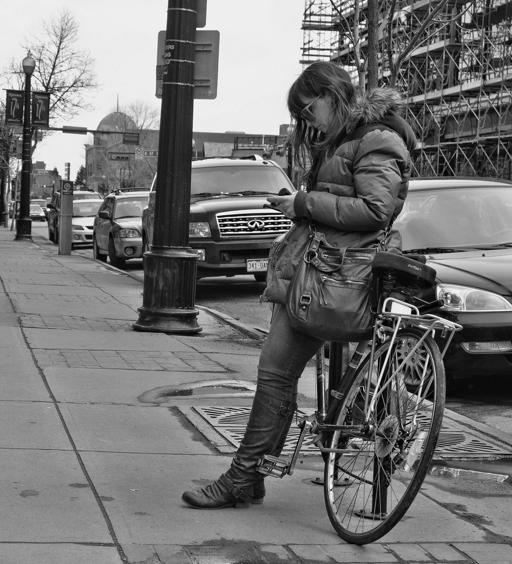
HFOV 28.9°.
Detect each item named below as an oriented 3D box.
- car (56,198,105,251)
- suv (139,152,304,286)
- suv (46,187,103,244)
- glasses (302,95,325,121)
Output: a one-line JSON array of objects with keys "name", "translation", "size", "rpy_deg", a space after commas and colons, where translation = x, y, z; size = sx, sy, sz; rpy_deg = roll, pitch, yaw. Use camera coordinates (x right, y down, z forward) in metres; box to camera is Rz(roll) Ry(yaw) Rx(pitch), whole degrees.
[{"name": "car", "translation": [-4.932, -1.628, 28.006], "size": [1.057, 0.841, 2.311], "rpy_deg": [-1, 0, -21]}, {"name": "suv", "translation": [-0.364, -0.891, 13.797], "size": [1.368, 1.160, 2.438], "rpy_deg": [-1, 1, -14]}, {"name": "suv", "translation": [-5.230, -1.767, 29.042], "size": [1.595, 1.232, 3.150], "rpy_deg": [-1, 2, -20]}, {"name": "glasses", "translation": [0.205, -0.647, 3.718], "size": [0.035, 0.092, 0.066], "rpy_deg": [41, 5, 12]}]
